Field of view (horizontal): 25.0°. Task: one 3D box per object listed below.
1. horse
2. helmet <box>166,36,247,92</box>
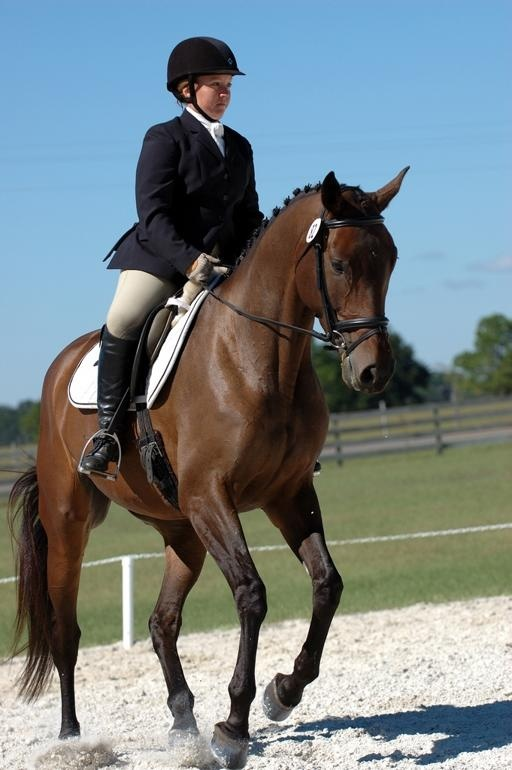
[{"bbox_3d":[-0.148,0.434,5.351,0.831,2.634,2.708,-7,0,-43],"label":"horse"},{"bbox_3d":[-0.296,-1.564,5.549,0.402,0.184,0.269,-16,13,-6],"label":"helmet"}]
